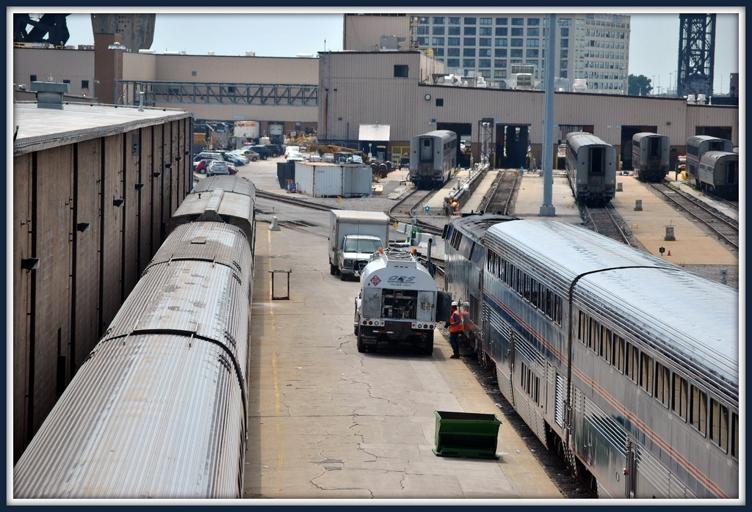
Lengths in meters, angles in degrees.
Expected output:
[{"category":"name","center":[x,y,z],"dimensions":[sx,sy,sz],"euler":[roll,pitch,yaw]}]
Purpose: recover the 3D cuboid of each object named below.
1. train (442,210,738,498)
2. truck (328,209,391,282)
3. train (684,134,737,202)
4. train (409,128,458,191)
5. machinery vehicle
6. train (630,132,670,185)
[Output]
[{"category":"train","center":[5.418,1.767,18.525],"dimensions":[2.102,3.152,11.858],"euler":[0,10,-8]},{"category":"truck","center":[-0.739,-0.357,42.424],"dimensions":[2.542,3.512,5.798],"euler":[3,4,-7]},{"category":"train","center":[29.698,-7.931,72.441],"dimensions":[2.540,5.561,13.959],"euler":[0,8,3]},{"category":"train","center":[6.286,-10.429,87.791],"dimensions":[3.417,5.496,20.986],"euler":[2,10,9]},{"category":"machinery vehicle","center":[0.699,1.127,30.354],"dimensions":[2.777,3.439,5.600],"euler":[3,13,0]},{"category":"train","center":[27.574,-9.832,83.616],"dimensions":[2.615,4.807,4.905],"euler":[2,9,8]}]
